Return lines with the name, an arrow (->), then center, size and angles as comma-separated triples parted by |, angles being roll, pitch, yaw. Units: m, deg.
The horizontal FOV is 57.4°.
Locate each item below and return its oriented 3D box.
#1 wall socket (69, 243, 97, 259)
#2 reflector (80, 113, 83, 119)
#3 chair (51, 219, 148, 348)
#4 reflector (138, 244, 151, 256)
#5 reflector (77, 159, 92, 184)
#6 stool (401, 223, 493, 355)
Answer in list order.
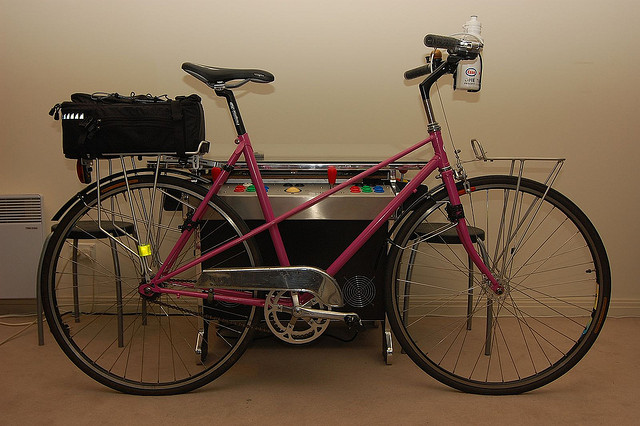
wall socket -> -1.704, 0.249, 4.219 | 0.208, 0.130, 0.111 | 0, 2, 1
reflector -> -1.344, -0.548, 3.314 | 0.016, 0.022, 0.004 | 2, -3, -7
chair -> -1.436, 0.446, 3.710 | 0.556, 0.811, 0.541 | 4, -16, -17
reflector -> -0.996, 0.211, 3.341 | 0.061, 0.059, 0.058 | -1, 3, 3
reflector -> -1.398, -0.250, 3.479 | 0.051, 0.138, 0.076 | -3, -1, 32
stool -> 0.831, 0.488, 3.955 | 0.561, 0.793, 0.544 | 1, 1, 7
